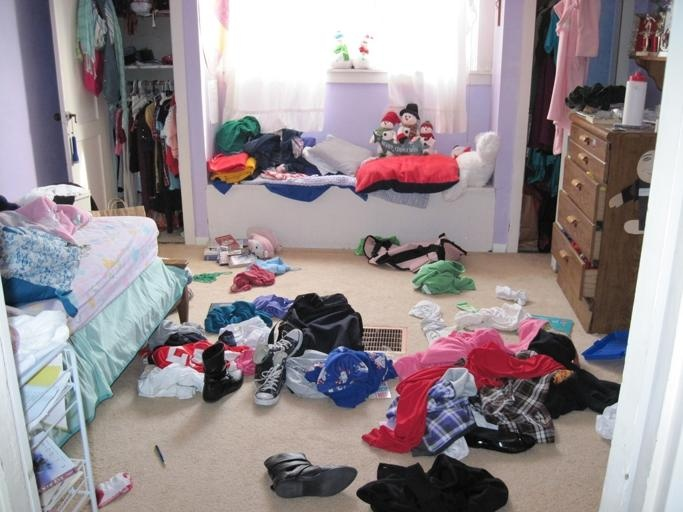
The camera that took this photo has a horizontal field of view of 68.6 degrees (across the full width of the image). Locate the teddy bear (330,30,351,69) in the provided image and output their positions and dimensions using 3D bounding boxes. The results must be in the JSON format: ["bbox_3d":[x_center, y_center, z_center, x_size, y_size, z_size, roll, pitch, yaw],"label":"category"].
[{"bbox_3d":[-0.004,-1.985,4.814,0.193,0.359,0.223,-3,18,0],"label":"teddy bear"}]

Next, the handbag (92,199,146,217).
[{"bbox_3d":[-1.781,-0.389,4.001,0.291,0.070,0.197,1,34,2],"label":"handbag"}]

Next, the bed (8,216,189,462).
[{"bbox_3d":[-1.176,0.309,2.613,0.657,0.376,0.902,0,30,0],"label":"bed"}]

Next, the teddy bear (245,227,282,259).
[{"bbox_3d":[-0.711,-0.107,4.378,0.302,0.223,0.278,0,18,6],"label":"teddy bear"}]

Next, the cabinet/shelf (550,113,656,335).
[{"bbox_3d":[1.628,-0.217,3.160,0.386,1.278,0.751,4,19,18],"label":"cabinet/shelf"}]

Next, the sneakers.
[{"bbox_3d":[-0.330,0.584,2.684,0.131,0.125,0.400,9,45,13],"label":"sneakers"}]

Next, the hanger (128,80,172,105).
[{"bbox_3d":[-1.819,-1.574,4.778,0.339,0.162,0.357,7,35,11],"label":"hanger"}]

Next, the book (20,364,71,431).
[{"bbox_3d":[-0.839,0.410,1.439,0.050,0.192,0.182,7,-23,-22],"label":"book"}]

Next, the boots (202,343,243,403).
[{"bbox_3d":[-0.621,0.590,2.631,0.134,0.265,0.280,7,13,19],"label":"boots"}]

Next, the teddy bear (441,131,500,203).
[{"bbox_3d":[1.134,-0.804,4.375,0.529,0.552,0.573,21,31,30],"label":"teddy bear"}]

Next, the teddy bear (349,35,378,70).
[{"bbox_3d":[0.195,-1.959,4.822,0.231,0.320,0.216,-1,18,4],"label":"teddy bear"}]

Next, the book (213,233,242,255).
[{"bbox_3d":[-0.979,-0.105,4.414,0.223,0.093,0.341,-8,19,-16],"label":"book"}]

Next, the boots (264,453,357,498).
[{"bbox_3d":[-0.130,0.862,2.030,0.396,0.149,0.199,-2,17,6],"label":"boots"}]
